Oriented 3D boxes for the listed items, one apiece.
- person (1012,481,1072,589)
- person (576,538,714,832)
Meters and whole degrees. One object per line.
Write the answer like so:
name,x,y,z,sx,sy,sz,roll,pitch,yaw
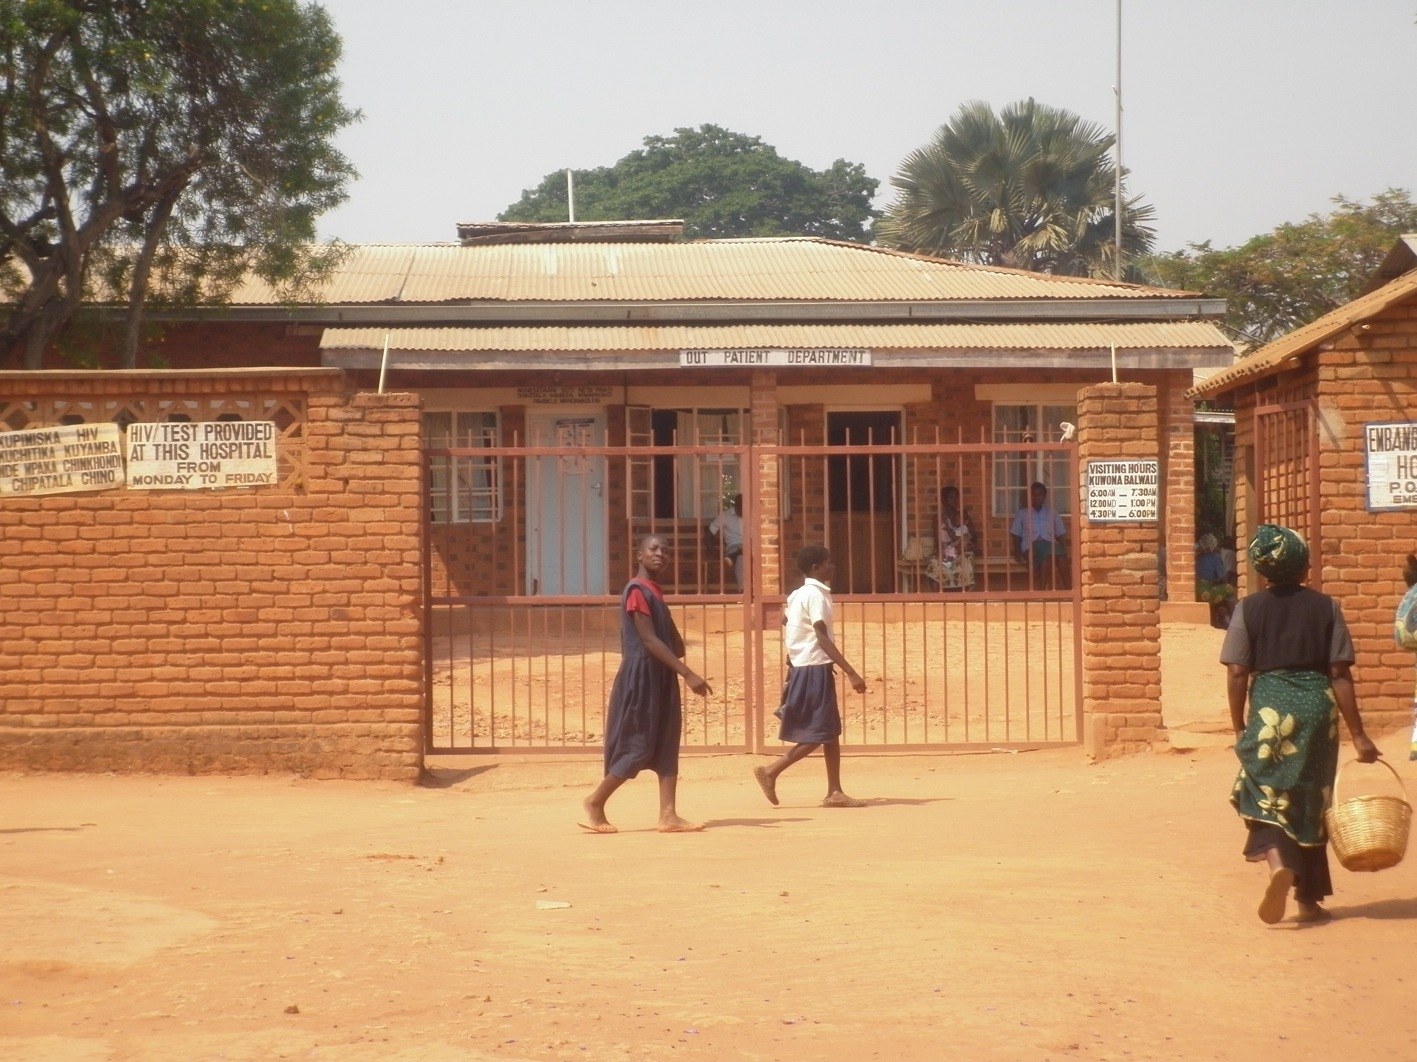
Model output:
person,3.919,0.082,22.545,0.650,1.301,3.129,1,6,10
person,-0.472,1.134,13.629,0.850,2.148,1.309,-1,6,-4
